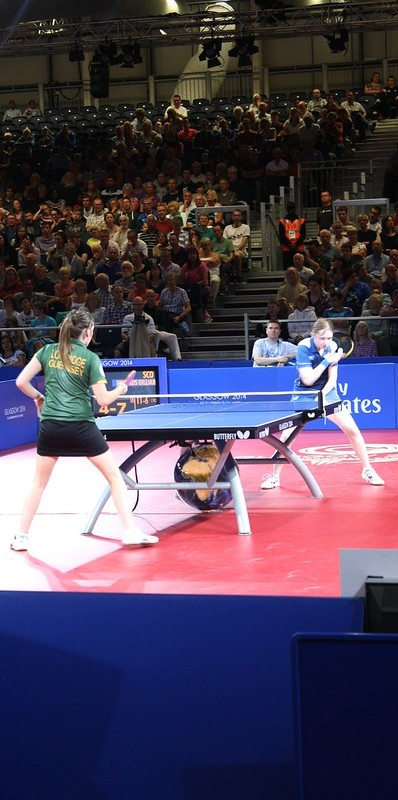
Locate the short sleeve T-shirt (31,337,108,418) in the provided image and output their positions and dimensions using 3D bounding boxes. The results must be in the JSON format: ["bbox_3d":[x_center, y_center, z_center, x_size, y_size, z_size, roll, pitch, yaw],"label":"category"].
[{"bbox_3d":[-1.039,-0.147,4.927,0.564,0.625,0.238,0,5,21],"label":"short sleeve T-shirt"}]

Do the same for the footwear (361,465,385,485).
[{"bbox_3d":[1.962,0.861,7.125,0.122,0.159,0.346,-7,8,-20],"label":"footwear"}]
